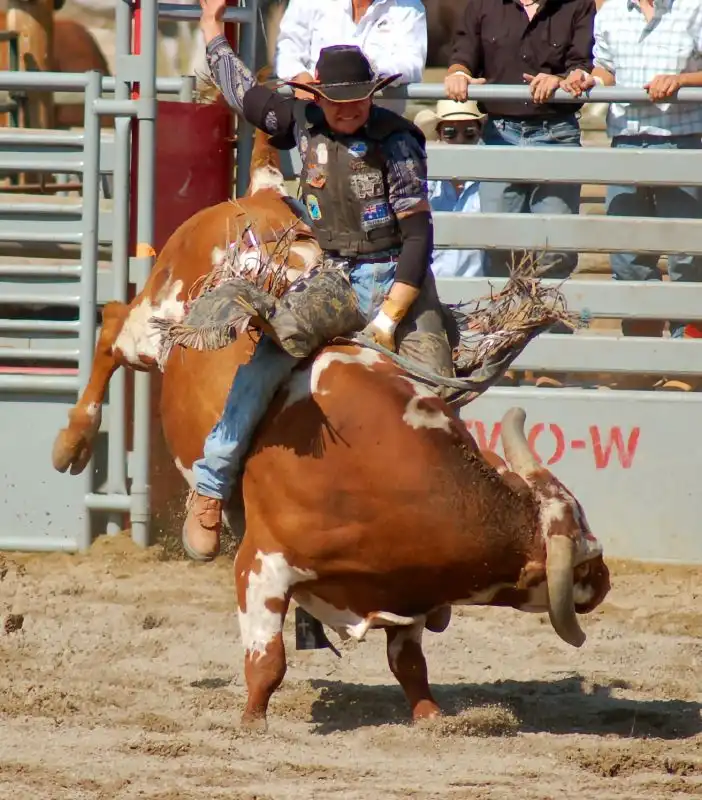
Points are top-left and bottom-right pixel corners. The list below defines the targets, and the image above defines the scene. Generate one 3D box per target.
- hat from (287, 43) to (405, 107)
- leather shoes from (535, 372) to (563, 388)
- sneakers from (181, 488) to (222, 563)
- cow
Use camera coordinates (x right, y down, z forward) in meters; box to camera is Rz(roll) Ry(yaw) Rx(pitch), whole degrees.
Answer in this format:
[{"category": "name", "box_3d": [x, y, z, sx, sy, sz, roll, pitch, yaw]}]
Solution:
[{"category": "hat", "box_3d": [-0.036, -1.195, 6.595, 0.534, 0.196, 0.551, -3, 4, 6]}, {"category": "leather shoes", "box_3d": [0.921, -0.095, 8.505, 0.071, 0.038, 0.119, 7, 3, 41]}, {"category": "sneakers", "box_3d": [-0.526, 0.444, 6.426, 0.111, 0.131, 0.304, 18, 23, -24]}, {"category": "cow", "box_3d": [-0.130, 0.140, 6.289, 1.051, 1.769, 2.187, -3, 11, -26]}]
